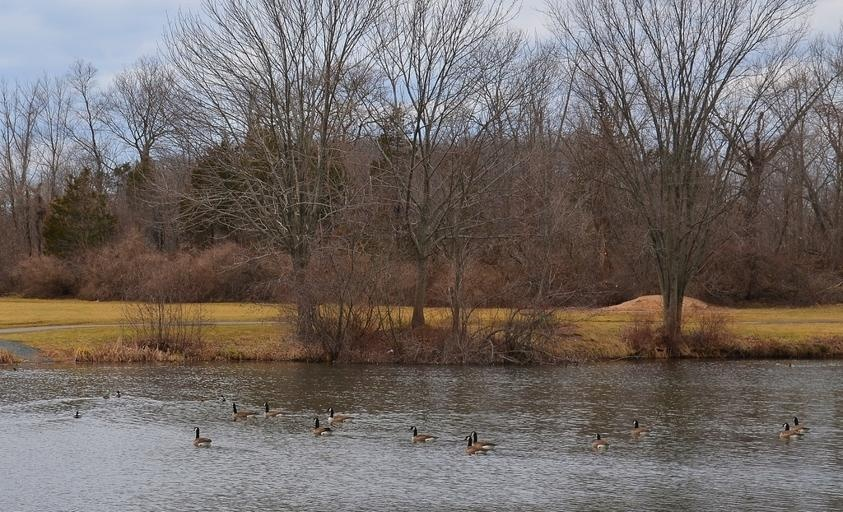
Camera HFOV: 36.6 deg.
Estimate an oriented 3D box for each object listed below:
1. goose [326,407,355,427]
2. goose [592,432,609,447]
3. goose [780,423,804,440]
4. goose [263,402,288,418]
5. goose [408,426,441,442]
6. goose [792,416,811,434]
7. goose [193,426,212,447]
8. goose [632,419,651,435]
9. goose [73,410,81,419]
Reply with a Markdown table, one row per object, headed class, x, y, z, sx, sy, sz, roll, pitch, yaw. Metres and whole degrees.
| class | x | y | z | sx | sy | sz | roll | pitch | yaw |
| --- | --- | --- | --- | --- | --- | --- | --- | --- | --- |
| goose | -5.078 | 9.875 | 76.912 | 2.036 | 1.271 | 0.696 | 4 | -6 | -9 |
| goose | 10.447 | 10.805 | 74.645 | 0.909 | 0.795 | 1.140 | -2 | 2 | 9 |
| goose | 21.811 | 10.561 | 75.581 | 1.401 | 0.840 | 0.731 | 7 | -11 | -12 |
| goose | -9.048 | 9.441 | 77.770 | 1.240 | 0.818 | 1.587 | -2 | 2 | -10 |
| goose | -0.003 | 10.711 | 75.110 | 2.000 | 1.219 | 0.630 | 4 | -6 | 5 |
| goose | 22.522 | 10.223 | 76.167 | 0.538 | 1.188 | 1.608 | -2 | 2 | -14 |
| goose | -12.977 | 10.621 | 74.525 | 1.040 | 1.031 | 1.493 | -3 | 2 | -29 |
| goose | 12.956 | 10.364 | 75.779 | 1.133 | 0.814 | 0.700 | 4 | -5 | 19 |
| goose | -20.830 | 9.690 | 77.012 | 0.393 | 0.371 | 0.390 | -7 | -25 | 9 |
